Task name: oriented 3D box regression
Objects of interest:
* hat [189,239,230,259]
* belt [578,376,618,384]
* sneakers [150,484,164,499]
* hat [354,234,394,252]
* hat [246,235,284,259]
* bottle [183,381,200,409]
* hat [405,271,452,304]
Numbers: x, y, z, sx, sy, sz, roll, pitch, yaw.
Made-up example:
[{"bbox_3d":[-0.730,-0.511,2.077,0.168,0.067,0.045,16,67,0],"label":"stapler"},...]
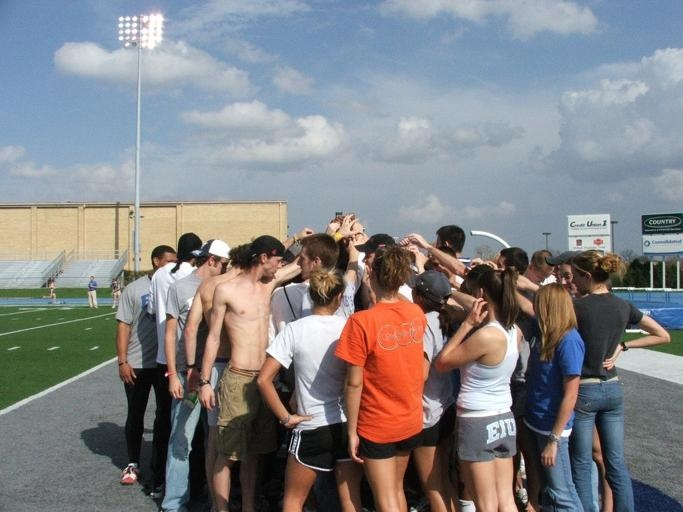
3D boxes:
[{"bbox_3d":[-1.512,-0.056,7.577,0.368,0.201,0.242,8,-1,-1],"label":"hat"},{"bbox_3d":[2.647,1.258,6.626,0.454,0.073,0.078,-2,3,-19],"label":"belt"},{"bbox_3d":[-2.158,2.726,7.585,0.072,0.092,0.207,5,2,-8],"label":"sneakers"},{"bbox_3d":[0.393,-0.152,7.269,0.381,0.174,0.263,0,1,-2],"label":"hat"},{"bbox_3d":[-0.786,-0.108,6.884,0.299,0.178,0.217,-8,10,-39],"label":"hat"},{"bbox_3d":[-1.640,1.523,7.062,0.165,0.323,0.432,-2,3,-13],"label":"bottle"},{"bbox_3d":[0.888,0.279,6.497,0.257,0.215,0.361,-7,35,-28],"label":"hat"}]
